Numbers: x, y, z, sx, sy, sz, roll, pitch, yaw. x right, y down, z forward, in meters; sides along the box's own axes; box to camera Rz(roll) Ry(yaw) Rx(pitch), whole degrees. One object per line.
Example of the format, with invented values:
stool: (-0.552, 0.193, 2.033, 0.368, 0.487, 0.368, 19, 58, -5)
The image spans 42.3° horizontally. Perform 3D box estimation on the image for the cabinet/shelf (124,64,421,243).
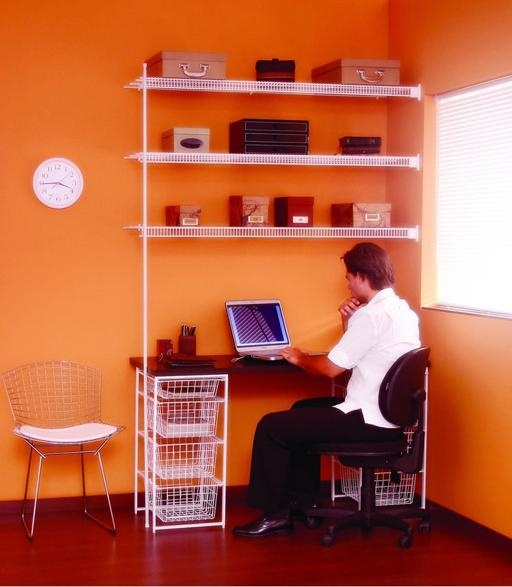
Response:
cabinet/shelf: (0.093, -0.693, 3.680, 1.589, 0.906, 0.484, 0, 0, -14)

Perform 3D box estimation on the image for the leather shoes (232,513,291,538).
leather shoes: (0.035, 1.106, 3.245, 0.296, 0.105, 0.108, -2, 3, -7)

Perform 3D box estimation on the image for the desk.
desk: (0.093, 0.757, 3.369, 1.066, 0.598, 0.329, 1, 0, -10)

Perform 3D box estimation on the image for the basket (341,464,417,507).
basket: (0.706, 1.118, 3.833, 0.288, 0.188, 0.430, 0, 4, -1)

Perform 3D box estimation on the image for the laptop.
laptop: (0.028, 0.201, 3.724, 0.366, 0.248, 0.317, -2, 9, -27)

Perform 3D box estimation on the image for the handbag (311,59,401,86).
handbag: (0.561, -1.170, 3.644, 0.250, 0.081, 0.320, -1, 4, -8)

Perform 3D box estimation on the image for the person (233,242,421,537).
person: (0.342, 0.468, 3.157, 0.840, 1.352, 0.315, 0, 0, 11)
